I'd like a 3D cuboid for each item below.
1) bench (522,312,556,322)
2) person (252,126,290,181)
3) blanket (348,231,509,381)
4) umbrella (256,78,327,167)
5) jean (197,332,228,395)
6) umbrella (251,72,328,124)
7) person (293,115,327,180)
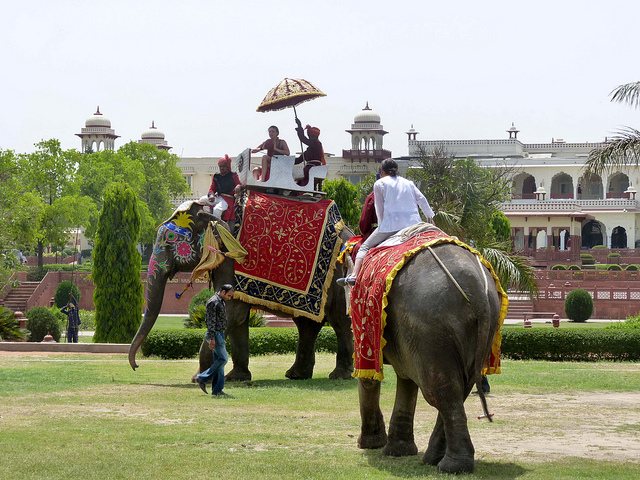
[{"bbox_3d":[7.499,2.555,46.099,1.071,0.156,1.013,0,-2,6],"label":"bench"},{"bbox_3d":[-1.039,-1.786,28.066,0.797,1.276,0.625,7,-10,-40],"label":"person"},{"bbox_3d":[1.832,1.018,22.863,1.958,2.869,2.316,-1,-1,13],"label":"blanket"},{"bbox_3d":[-0.455,-2.545,28.553,1.511,1.789,1.499,-9,-6,-45],"label":"umbrella"},{"bbox_3d":[-1.972,2.342,25.769,0.511,1.140,0.529,3,4,40],"label":"jean"},{"bbox_3d":[-0.599,-3.249,28.655,1.101,0.473,1.157,-7,11,4],"label":"umbrella"},{"bbox_3d":[-0.181,-1.963,28.187,0.619,1.318,0.845,0,-2,0],"label":"person"}]
